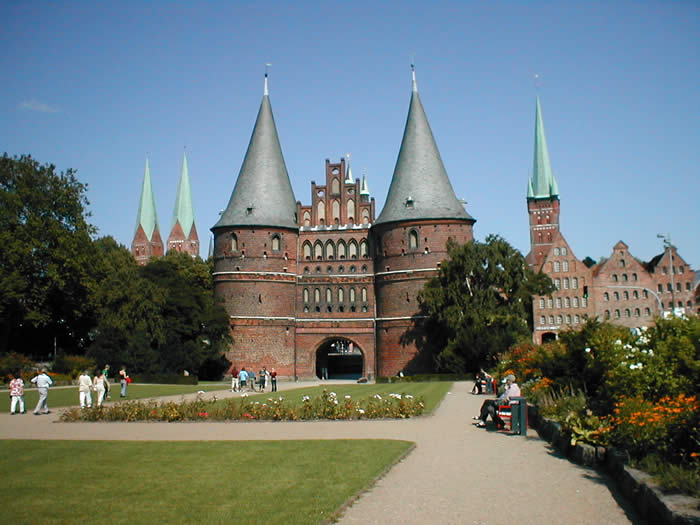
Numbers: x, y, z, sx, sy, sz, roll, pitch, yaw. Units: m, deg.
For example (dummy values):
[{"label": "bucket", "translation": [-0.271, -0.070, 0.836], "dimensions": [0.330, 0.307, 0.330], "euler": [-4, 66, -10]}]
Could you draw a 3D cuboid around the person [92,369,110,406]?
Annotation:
[{"label": "person", "translation": [-9.932, 5.038, 31.302], "dimensions": [0.516, 1.442, 0.365], "euler": [-1, -33, -11]}]

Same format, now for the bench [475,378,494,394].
[{"label": "bench", "translation": [5.874, 5.461, 34.330], "dimensions": [0.750, 0.819, 0.660], "euler": [8, -13, -10]}]

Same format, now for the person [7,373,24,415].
[{"label": "person", "translation": [-12.269, 4.880, 29.044], "dimensions": [0.490, 1.276, 1.792], "euler": [1, -4, -23]}]
